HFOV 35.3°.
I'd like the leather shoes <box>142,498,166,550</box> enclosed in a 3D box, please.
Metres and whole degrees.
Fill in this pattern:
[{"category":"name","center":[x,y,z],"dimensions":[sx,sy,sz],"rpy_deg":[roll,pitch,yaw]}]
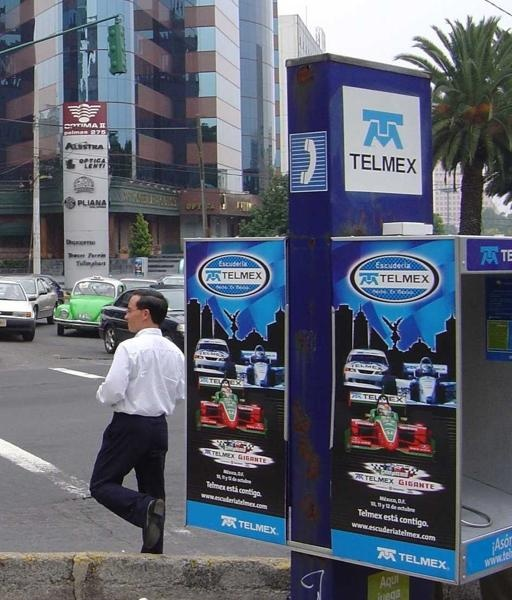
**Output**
[{"category":"leather shoes","center":[-0.543,1.189,4.265],"dimensions":[0.102,0.294,0.136],"rpy_deg":[6,-9,-15]}]

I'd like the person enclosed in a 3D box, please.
[{"category":"person","center":[-0.661,0.690,4.535],"dimensions":[0.491,1.478,0.786],"rpy_deg":[0,1,7]}]
